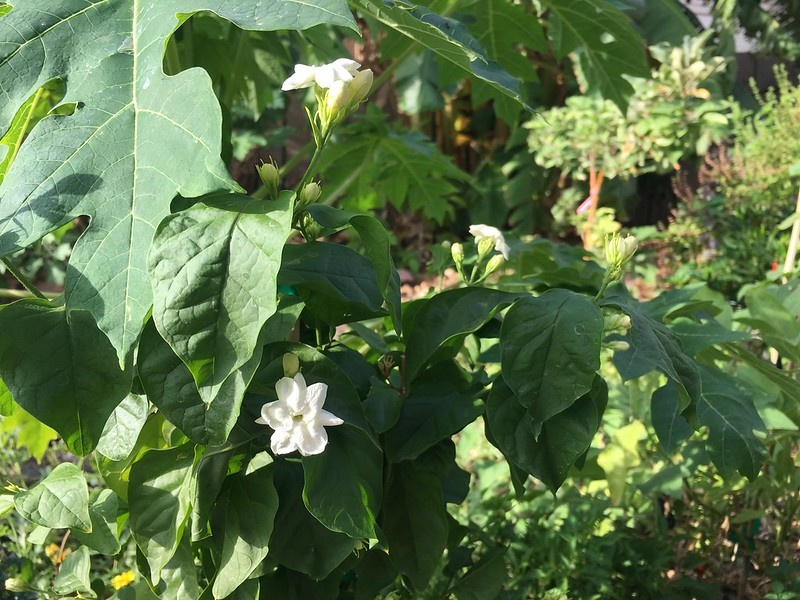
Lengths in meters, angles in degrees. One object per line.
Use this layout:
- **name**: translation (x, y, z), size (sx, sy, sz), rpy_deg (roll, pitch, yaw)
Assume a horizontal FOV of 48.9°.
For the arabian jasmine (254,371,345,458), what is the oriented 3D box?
- **arabian jasmine**: translation (-0.208, 0.238, 1.793), size (0.154, 0.169, 0.074), rpy_deg (-20, -52, -31)
